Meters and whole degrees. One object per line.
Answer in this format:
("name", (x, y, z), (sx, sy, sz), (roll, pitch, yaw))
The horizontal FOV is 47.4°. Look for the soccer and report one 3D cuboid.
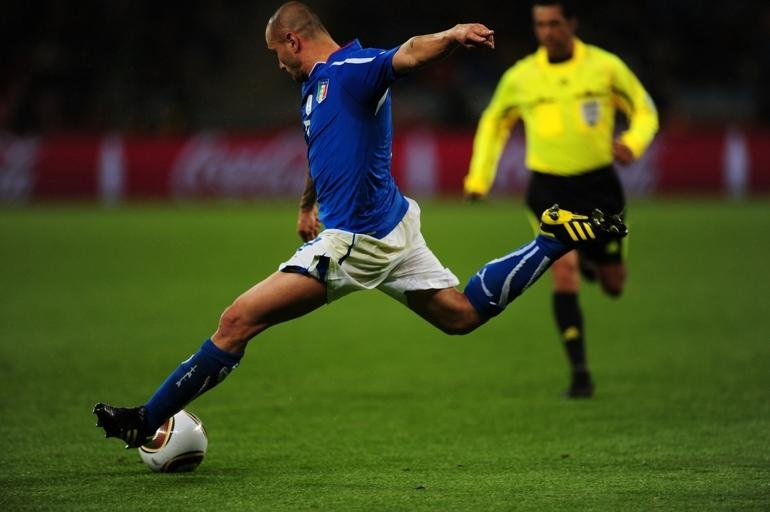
("soccer", (-1.613, 1.503, 6.830), (0.535, 0.552, 0.590), (8, -19, -40))
